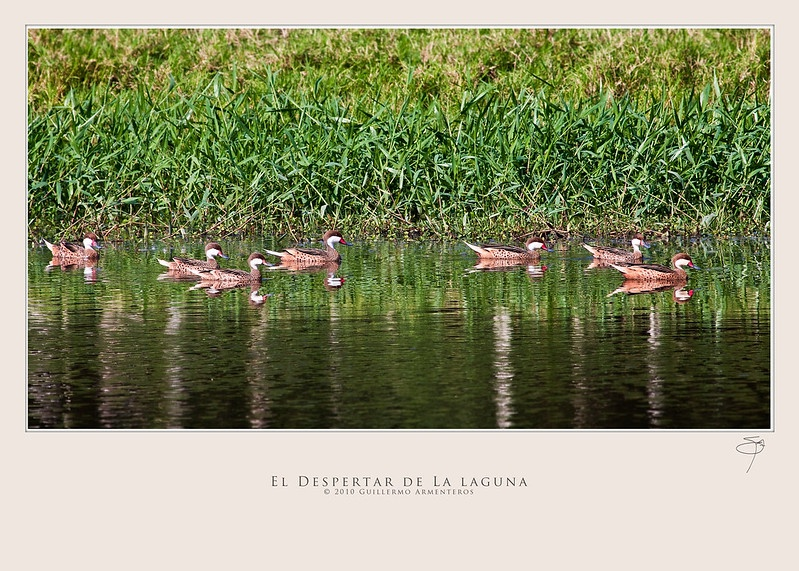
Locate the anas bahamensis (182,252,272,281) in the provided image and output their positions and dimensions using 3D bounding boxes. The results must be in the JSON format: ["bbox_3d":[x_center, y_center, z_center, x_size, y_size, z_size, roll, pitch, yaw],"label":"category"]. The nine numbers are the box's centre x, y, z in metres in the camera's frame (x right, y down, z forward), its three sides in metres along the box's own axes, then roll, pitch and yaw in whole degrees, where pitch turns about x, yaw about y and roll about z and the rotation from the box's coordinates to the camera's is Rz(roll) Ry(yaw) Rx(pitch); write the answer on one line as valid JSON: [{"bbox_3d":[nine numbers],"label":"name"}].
[{"bbox_3d":[-2.024,-0.198,13.502,0.956,0.322,0.683,-6,8,-16],"label":"anas bahamensis"}]

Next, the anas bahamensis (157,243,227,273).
[{"bbox_3d":[-2.640,-0.329,13.774,1.061,0.427,0.308,0,17,-3],"label":"anas bahamensis"}]

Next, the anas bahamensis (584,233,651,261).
[{"bbox_3d":[2.859,-0.477,14.149,1.104,0.447,0.287,0,17,9],"label":"anas bahamensis"}]

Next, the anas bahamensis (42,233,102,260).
[{"bbox_3d":[-4.104,-0.443,14.217,0.585,0.265,0.524,-6,8,-17],"label":"anas bahamensis"}]

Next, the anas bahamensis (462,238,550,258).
[{"bbox_3d":[1.466,-0.467,14.433,1.048,0.230,0.698,-8,8,-29],"label":"anas bahamensis"}]
